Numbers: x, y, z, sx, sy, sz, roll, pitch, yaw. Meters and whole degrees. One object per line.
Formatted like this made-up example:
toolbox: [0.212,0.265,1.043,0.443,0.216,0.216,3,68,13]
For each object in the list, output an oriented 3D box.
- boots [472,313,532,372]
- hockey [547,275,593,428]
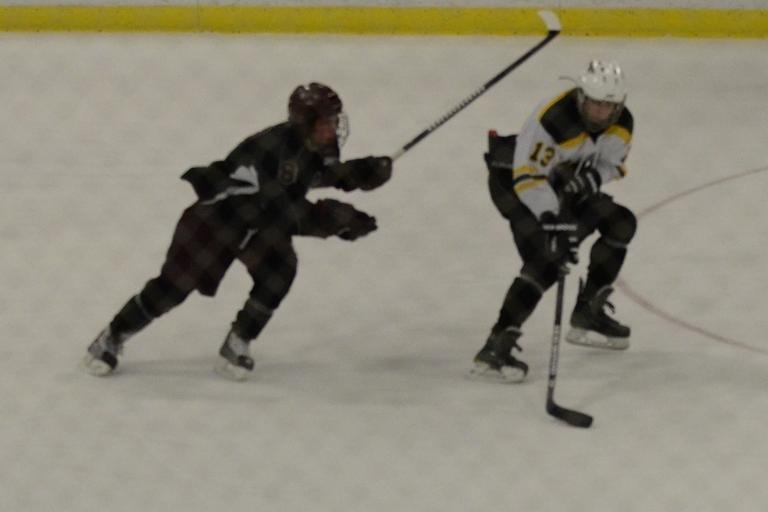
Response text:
boots: [0.786,0.584,8.481,0.178,0.338,0.316,17,11,-45]
hockey: [1.149,0.541,8.325,0.238,1.005,0.081,22,-23,-38]
